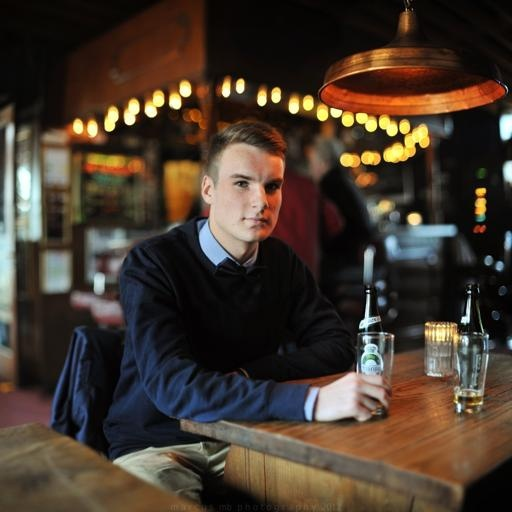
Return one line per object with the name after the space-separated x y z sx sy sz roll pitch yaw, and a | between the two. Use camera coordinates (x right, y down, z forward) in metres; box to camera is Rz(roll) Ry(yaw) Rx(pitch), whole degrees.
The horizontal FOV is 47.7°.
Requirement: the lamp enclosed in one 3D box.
0.494 -0.651 1.793 0.536 0.395 0.493 -6 11 -26 | lamp

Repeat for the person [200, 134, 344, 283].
0.340 -0.281 4.786 1.307 1.491 0.777 1 -1 -34 | person
